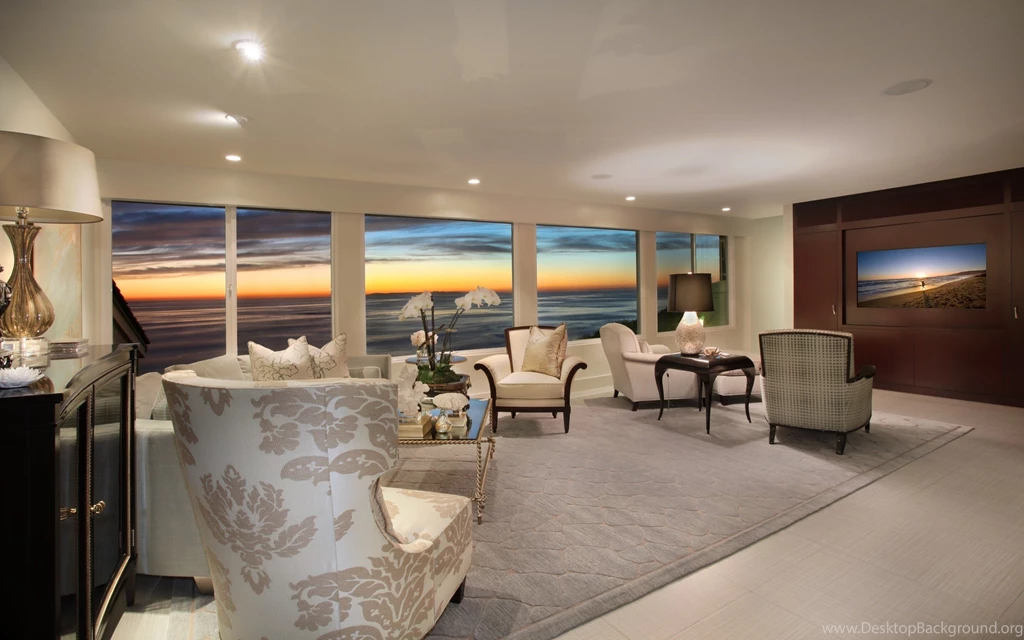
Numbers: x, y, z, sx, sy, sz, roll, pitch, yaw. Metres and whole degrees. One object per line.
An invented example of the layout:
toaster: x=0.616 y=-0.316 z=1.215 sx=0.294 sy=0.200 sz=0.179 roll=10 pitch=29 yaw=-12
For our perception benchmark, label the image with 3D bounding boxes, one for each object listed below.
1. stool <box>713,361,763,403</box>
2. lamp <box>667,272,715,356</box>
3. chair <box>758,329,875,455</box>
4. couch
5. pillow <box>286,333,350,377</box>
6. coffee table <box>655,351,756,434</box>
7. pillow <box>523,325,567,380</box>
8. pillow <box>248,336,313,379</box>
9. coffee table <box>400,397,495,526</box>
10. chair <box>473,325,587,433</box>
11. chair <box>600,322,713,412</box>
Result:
stool: x=2.813 y=0.803 z=7.167 sx=0.576 sy=0.433 sz=0.722 roll=-1 pitch=-1 yaw=-3
lamp: x=2.094 y=-0.094 z=6.725 sx=0.478 sy=0.895 sz=0.654 roll=1 pitch=9 yaw=14
chair: x=3.096 y=0.615 z=5.839 sx=0.951 sy=1.118 sz=1.122 roll=3 pitch=8 yaw=44
couch: x=-2.048 y=1.008 z=4.361 sx=1.461 sy=1.123 sz=1.416 roll=-1 pitch=2 yaw=-31
pillow: x=-1.742 y=0.347 z=5.203 sx=0.533 sy=0.415 sz=0.204 roll=-4 pitch=-6 yaw=-17
coffee table: x=2.279 y=0.735 z=6.532 sx=1.046 sy=0.760 sz=0.942 roll=-1 pitch=1 yaw=-24
pillow: x=0.370 y=0.339 z=6.770 sx=0.374 sy=0.572 sz=0.657 roll=-5 pitch=3 yaw=-38
pillow: x=-1.933 y=0.344 z=4.824 sx=0.488 sy=0.416 sz=0.247 roll=-7 pitch=22 yaw=-34
coffee table: x=-0.473 y=1.147 z=4.870 sx=0.815 sy=0.531 sz=1.180 roll=-2 pitch=-3 yaw=3
chair: x=0.187 y=0.725 z=6.753 sx=1.508 sy=1.262 sz=1.181 roll=0 pitch=-5 yaw=2
chair: x=1.814 y=0.510 z=7.159 sx=1.175 sy=0.997 sz=1.184 roll=-2 pitch=3 yaw=-9
